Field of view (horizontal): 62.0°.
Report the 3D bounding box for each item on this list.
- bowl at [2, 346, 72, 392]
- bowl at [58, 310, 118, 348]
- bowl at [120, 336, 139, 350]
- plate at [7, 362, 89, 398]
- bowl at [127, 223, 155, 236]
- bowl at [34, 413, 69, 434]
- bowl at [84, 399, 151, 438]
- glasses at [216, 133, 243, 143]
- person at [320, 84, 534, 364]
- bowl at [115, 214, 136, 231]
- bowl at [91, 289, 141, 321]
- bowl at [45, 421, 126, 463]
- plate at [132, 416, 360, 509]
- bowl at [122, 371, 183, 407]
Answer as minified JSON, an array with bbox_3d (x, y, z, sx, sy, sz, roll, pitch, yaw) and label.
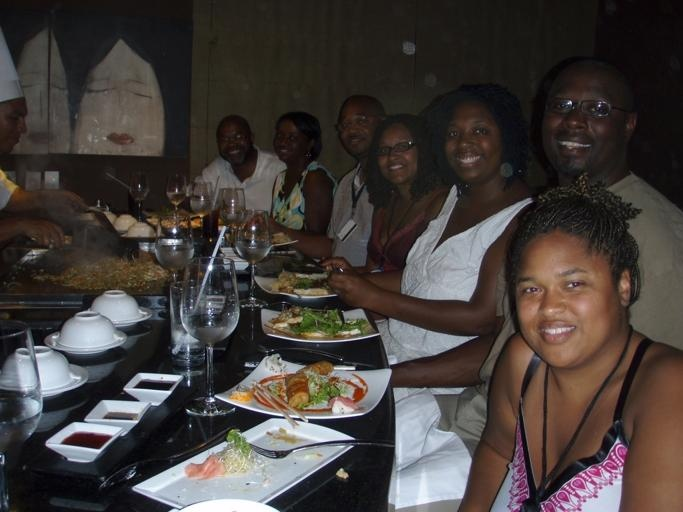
[{"bbox_3d":[-0.734,0.249,1.388,0.157,0.062,0.159,7,5,-1],"label":"bowl"},{"bbox_3d":[-0.782,0.209,1.720,0.122,0.048,0.125,2,6,0],"label":"bowl"},{"bbox_3d":[-0.675,0.274,1.802,0.036,0.025,0.034,-4,-6,0],"label":"bowl"},{"bbox_3d":[-0.694,0.291,1.327,0.128,0.028,0.123,2,8,-12],"label":"plate"},{"bbox_3d":[-1.218,-0.143,3.431,0.115,0.079,0.111,2,-1,0],"label":"bowl"},{"bbox_3d":[-0.674,0.386,1.312,0.081,0.037,0.079,1,-11,0],"label":"bowl"},{"bbox_3d":[-0.530,0.379,1.333,0.080,0.021,0.078,4,14,-1],"label":"bowl"},{"bbox_3d":[-0.979,-1.016,4.944,0.226,0.078,0.064,5,6,17],"label":"glasses"},{"bbox_3d":[0.507,-0.195,2.927,1.180,1.475,1.055,3,7,-3],"label":"person"},{"bbox_3d":[-1.414,-0.211,3.702,0.138,0.095,0.133,1,6,0],"label":"bowl"},{"bbox_3d":[-0.768,0.156,1.965,0.122,0.048,0.113,6,1,0],"label":"bowl"},{"bbox_3d":[-0.562,0.394,1.225,0.123,0.048,0.107,5,5,17],"label":"bowl"},{"bbox_3d":[-0.195,0.448,1.227,0.439,0.091,0.193,-1,7,-42],"label":"plate"},{"bbox_3d":[-0.484,0.344,1.463,0.151,0.038,0.166,6,5,0],"label":"bowl"}]
